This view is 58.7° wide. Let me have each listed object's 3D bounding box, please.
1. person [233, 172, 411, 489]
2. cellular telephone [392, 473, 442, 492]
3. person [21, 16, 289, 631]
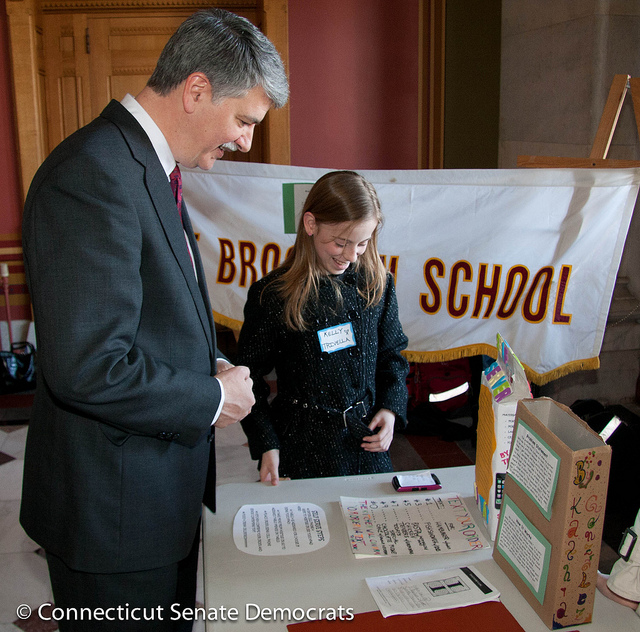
[{"bbox_3d":[0.012,0.258,1.794,0.505,1.423,0.396,-1,33,-1],"label":"person"},{"bbox_3d":[0.217,0.366,1.278,0.073,0.019,0.043,-2,13,-7],"label":"cellular telephone"},{"bbox_3d":[-0.320,0.105,1.105,0.338,1.298,0.455,8,13,40],"label":"person"}]
